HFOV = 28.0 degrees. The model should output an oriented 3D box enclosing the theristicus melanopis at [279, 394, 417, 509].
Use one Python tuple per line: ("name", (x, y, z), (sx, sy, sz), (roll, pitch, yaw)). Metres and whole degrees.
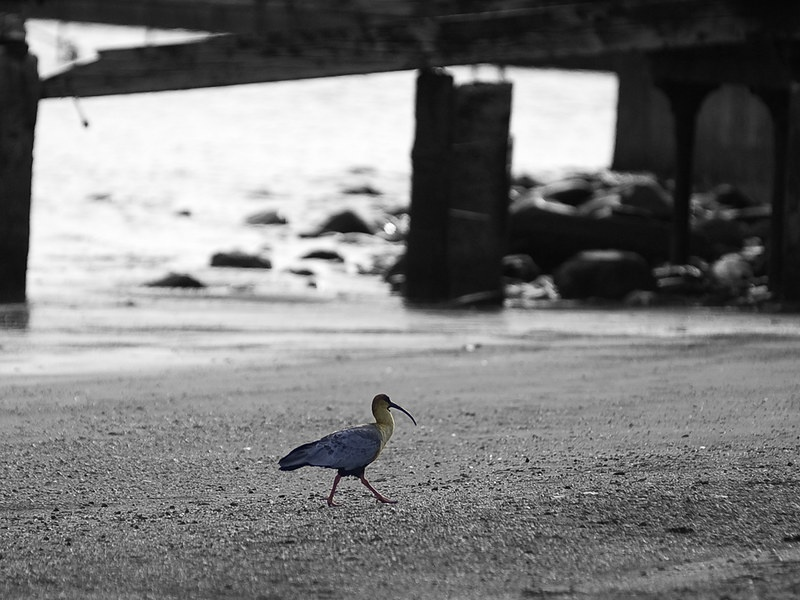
("theristicus melanopis", (-0.362, 1.086, 11.813), (1.183, 0.811, 0.317), (4, -10, -26))
